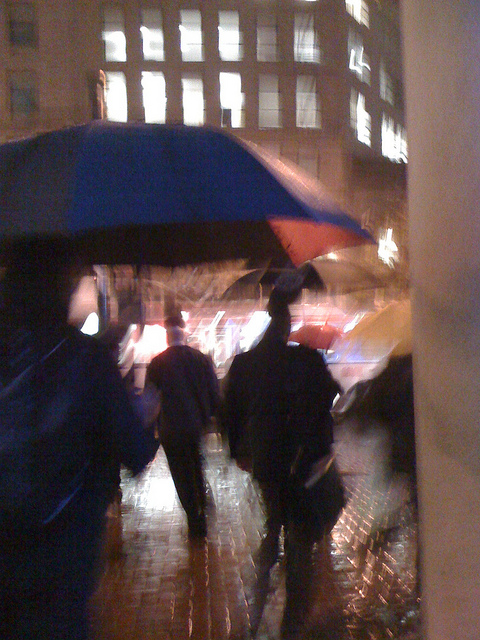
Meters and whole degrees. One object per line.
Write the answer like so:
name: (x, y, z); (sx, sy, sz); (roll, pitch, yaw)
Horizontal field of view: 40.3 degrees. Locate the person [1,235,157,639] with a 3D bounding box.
person: (-0.537, 0.383, 2.141); (0.478, 1.078, 0.253); (-2, 1, -16)
